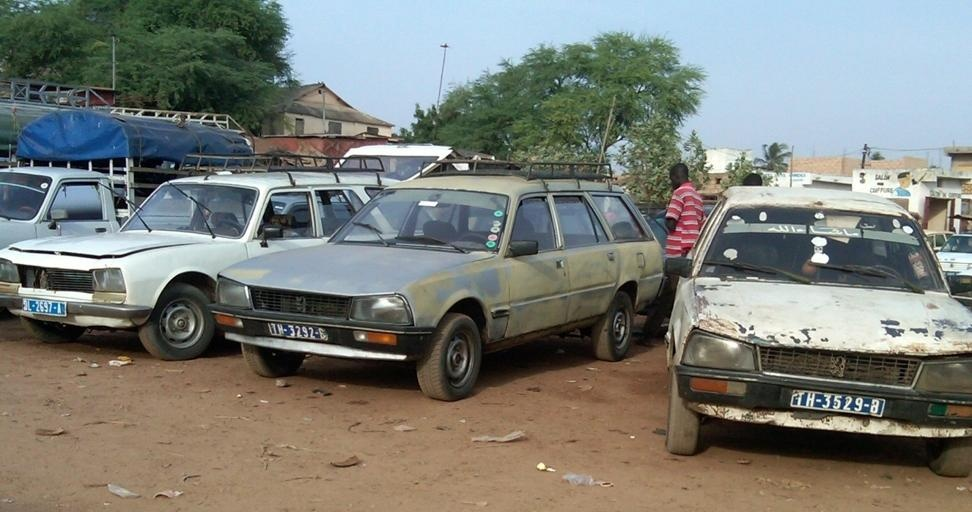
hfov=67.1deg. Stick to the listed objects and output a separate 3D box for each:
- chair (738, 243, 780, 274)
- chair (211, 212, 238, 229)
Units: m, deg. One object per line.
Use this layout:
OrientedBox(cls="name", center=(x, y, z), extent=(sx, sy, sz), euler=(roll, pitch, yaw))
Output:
OrientedBox(cls="chair", center=(3.172, 0.039, 8.518), extent=(0.458, 0.165, 0.299), euler=(19, -13, 45))
OrientedBox(cls="chair", center=(-3.854, -0.515, 10.842), extent=(0.335, 0.126, 0.298), euler=(5, 4, 23))
